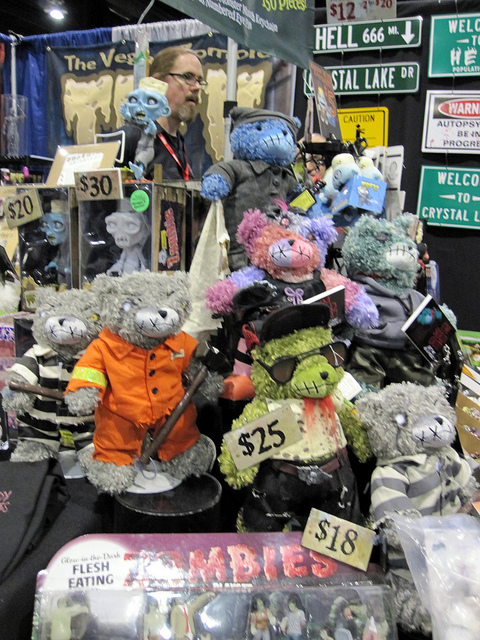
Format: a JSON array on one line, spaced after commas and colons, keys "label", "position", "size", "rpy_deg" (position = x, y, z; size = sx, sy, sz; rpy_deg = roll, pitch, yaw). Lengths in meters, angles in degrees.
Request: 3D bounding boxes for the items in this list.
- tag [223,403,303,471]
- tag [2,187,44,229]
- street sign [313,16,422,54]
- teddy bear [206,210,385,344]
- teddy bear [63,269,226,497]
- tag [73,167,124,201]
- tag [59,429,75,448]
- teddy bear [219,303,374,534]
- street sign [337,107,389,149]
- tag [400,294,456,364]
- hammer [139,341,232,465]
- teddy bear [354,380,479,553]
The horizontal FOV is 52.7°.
[{"label": "tag", "position": [0.075, 0.338, 1.367], "size": [0.192, 0.116, 0.027], "rpy_deg": [-24, 11, -10]}, {"label": "tag", "position": [-0.914, -0.473, 2.059], "size": [0.284, 0.170, 0.040], "rpy_deg": [-16, 3, 40]}, {"label": "street sign", "position": [1.134, -2.457, 4.162], "size": [1.073, 0.272, 0.039], "rpy_deg": [2, 10, 19]}, {"label": "teddy bear", "position": [0.196, -0.141, 1.718], "size": [0.558, 0.558, 0.208], "rpy_deg": [0, -3, -21]}, {"label": "teddy bear", "position": [-0.330, 0.183, 1.564], "size": [0.442, 0.650, 0.301], "rpy_deg": [-10, 20, -31]}, {"label": "tag", "position": [-0.539, -0.525, 1.884], "size": [0.240, 0.124, 0.078], "rpy_deg": [11, 20, 30]}, {"label": "tag", "position": [-0.608, 0.430, 1.762], "size": [0.068, 0.067, 0.020], "rpy_deg": [-13, 13, 40]}, {"label": "teddy bear", "position": [0.178, 0.305, 1.488], "size": [0.499, 0.714, 0.292], "rpy_deg": [-3, 17, -12]}, {"label": "street sign", "position": [1.105, -1.745, 4.348], "size": [0.458, 0.330, 0.253], "rpy_deg": [4, 17, 11]}, {"label": "tag", "position": [0.672, 0.032, 1.728], "size": [0.195, 0.190, 0.041], "rpy_deg": [-54, 12, -20]}, {"label": "hammer", "position": [-0.160, 0.241, 1.636], "size": [0.505, 0.183, 0.135], "rpy_deg": [-54, 14, -12]}, {"label": "teddy bear", "position": [0.493, 0.437, 1.404], "size": [0.397, 0.467, 0.260], "rpy_deg": [-3, -9, -26]}]
